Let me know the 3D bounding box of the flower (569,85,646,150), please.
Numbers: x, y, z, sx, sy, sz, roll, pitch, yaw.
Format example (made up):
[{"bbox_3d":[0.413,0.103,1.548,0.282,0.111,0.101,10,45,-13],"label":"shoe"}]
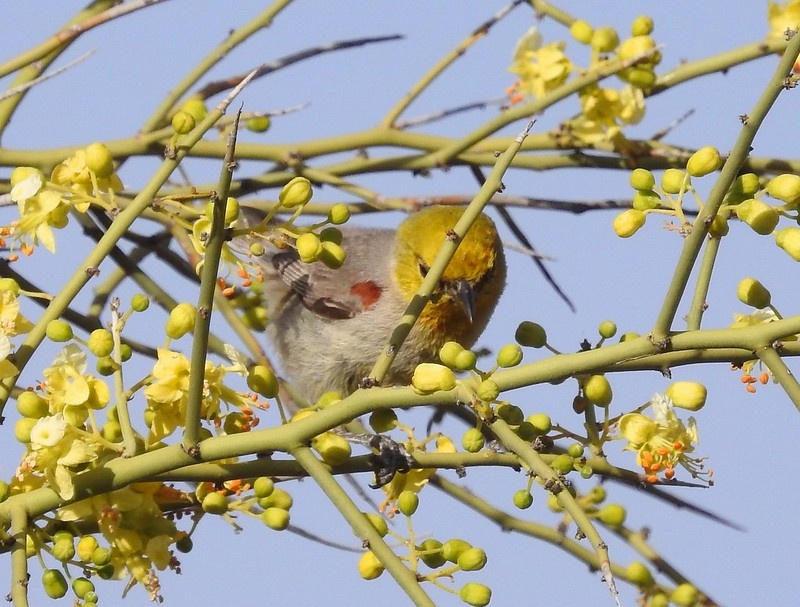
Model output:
[{"bbox_3d":[1.058,-0.973,6.591,0.404,0.195,0.256,-15,-49,13],"label":"flower"}]

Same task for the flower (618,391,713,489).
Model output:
[{"bbox_3d":[1.127,0.595,5.597,0.274,0.307,0.310,-33,-56,27],"label":"flower"}]

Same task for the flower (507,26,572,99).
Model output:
[{"bbox_3d":[0.725,-1.244,6.674,0.276,0.266,0.248,-34,-56,27],"label":"flower"}]
